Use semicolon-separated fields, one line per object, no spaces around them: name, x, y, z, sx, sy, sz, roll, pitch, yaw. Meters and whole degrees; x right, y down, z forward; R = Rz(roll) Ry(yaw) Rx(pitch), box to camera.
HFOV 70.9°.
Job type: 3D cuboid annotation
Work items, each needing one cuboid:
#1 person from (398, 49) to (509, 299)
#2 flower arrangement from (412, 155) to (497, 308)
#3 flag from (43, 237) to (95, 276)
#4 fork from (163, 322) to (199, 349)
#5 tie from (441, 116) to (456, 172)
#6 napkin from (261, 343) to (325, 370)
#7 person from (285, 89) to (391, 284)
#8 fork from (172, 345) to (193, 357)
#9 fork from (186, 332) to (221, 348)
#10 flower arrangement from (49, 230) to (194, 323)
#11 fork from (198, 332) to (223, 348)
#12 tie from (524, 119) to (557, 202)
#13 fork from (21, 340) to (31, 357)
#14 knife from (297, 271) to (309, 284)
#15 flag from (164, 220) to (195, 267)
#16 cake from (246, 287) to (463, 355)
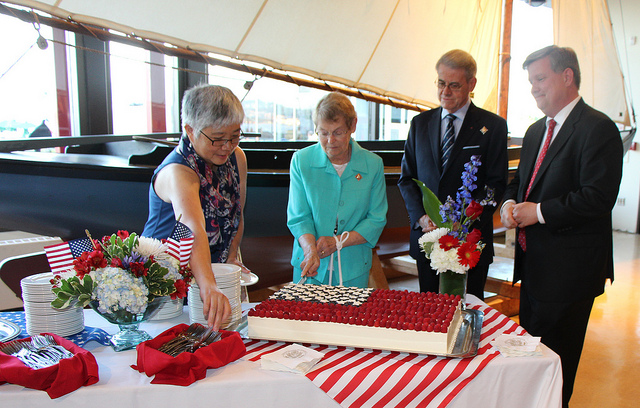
person;0.792;-0.166;2.813;0.711;1.655;0.927;4;10;21
flower arrangement;0.709;0.164;2.358;0.396;0.797;0.438;1;1;-35
flag;-1.051;0.224;1.891;0.199;0.136;0.006;-11;-3;6
fork;-0.593;0.569;1.948;0.108;0.014;0.016;-38;-22;-13
tie;0.857;-0.429;3.014;0.062;0.422;0.047;5;-13;15
napkin;-0.112;0.639;1.888;0.108;0.021;0.109;-11;20;-44
person;0.120;-0.082;2.648;0.603;1.129;0.464;-1;9;-10
fork;-0.571;0.609;1.838;0.103;0.015;0.015;-20;50;-10
fork;-0.493;0.573;1.914;0.047;0.023;0.089;17;21;37
flower arrangement;-0.850;0.305;1.889;0.426;0.340;0.448;-3;7;-29
fork;-0.463;0.575;1.895;0.090;0.011;0.013;-34;33;-29
tie;1.379;-0.330;2.798;0.088;0.789;0.041;13;-18;22
fork;-1.205;0.603;1.842;0.013;0.014;0.121;-25;40;-25
knife;-0.102;0.413;2.532;0.021;0.125;0.010;31;-8;10
flag;-0.620;0.184;1.997;0.107;0.223;0.193;11;-1;2
cake;0.169;0.523;2.004;0.682;0.136;0.382;3;3;16
